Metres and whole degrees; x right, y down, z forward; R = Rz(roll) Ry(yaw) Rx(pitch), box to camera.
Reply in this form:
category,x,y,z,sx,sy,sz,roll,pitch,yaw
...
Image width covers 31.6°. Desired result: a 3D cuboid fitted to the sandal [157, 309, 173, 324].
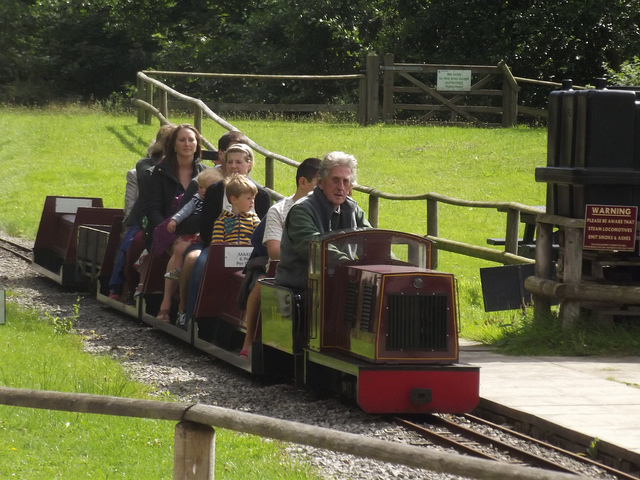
category,x,y,z,sx,sy,sz,roll,pitch,yaw
sandal,-1.976,0.944,14.221,0.153,0.164,0.436,0,-4,-16
